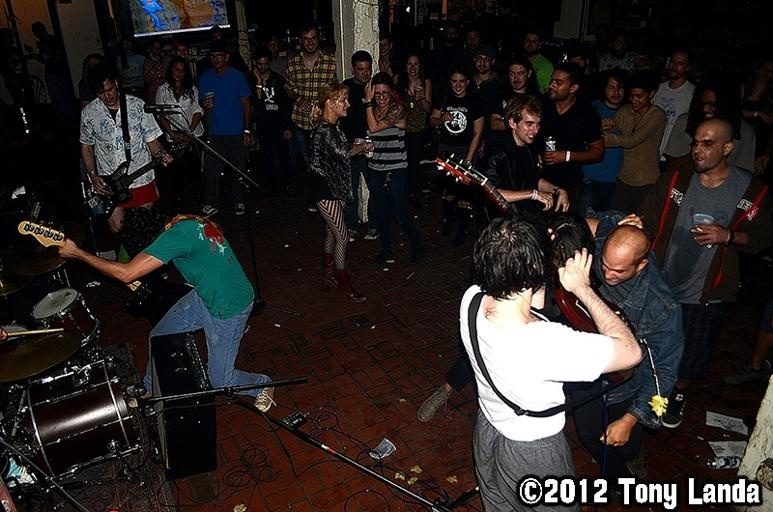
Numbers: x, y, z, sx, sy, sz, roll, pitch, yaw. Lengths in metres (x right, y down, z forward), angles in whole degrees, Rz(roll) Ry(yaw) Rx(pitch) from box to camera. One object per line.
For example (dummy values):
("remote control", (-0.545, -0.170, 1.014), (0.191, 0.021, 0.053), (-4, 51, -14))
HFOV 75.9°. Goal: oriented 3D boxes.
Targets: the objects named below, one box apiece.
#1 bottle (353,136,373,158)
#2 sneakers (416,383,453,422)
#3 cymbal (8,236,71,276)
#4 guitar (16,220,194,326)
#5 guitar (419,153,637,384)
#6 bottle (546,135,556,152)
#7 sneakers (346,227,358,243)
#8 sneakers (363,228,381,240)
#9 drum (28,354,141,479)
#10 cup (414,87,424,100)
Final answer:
("bottle", (-0.318, -1.613, 7.231), (0.322, 0.239, 0.306), (-8, -5, -1))
("sneakers", (0.546, 1.664, 5.569), (0.489, 0.161, 0.189), (-42, -1, -5))
("cymbal", (-3.847, 0.046, 5.386), (0.726, 0.293, 0.427), (19, 36, 31))
("guitar", (-3.124, 0.314, 6.468), (2.459, 0.282, 0.941), (32, 39, -16))
("guitar", (1.467, -0.146, 5.592), (2.608, 0.342, 1.139), (37, 22, -17))
("bottle", (2.271, -1.531, 6.839), (0.207, 0.208, 0.199), (-1, 29, 10))
("sneakers", (-0.585, -0.343, 8.685), (0.205, 0.208, 0.205), (0, -2, 17))
("sneakers", (-0.267, -0.364, 8.676), (0.165, 0.123, 0.292), (1, 7, 16))
("drum", (-2.854, 1.579, 4.910), (0.951, 0.974, 1.003), (-19, 7, -22))
("cup", (0.554, -2.827, 8.732), (0.188, 0.183, 0.286), (4, -7, 2))
